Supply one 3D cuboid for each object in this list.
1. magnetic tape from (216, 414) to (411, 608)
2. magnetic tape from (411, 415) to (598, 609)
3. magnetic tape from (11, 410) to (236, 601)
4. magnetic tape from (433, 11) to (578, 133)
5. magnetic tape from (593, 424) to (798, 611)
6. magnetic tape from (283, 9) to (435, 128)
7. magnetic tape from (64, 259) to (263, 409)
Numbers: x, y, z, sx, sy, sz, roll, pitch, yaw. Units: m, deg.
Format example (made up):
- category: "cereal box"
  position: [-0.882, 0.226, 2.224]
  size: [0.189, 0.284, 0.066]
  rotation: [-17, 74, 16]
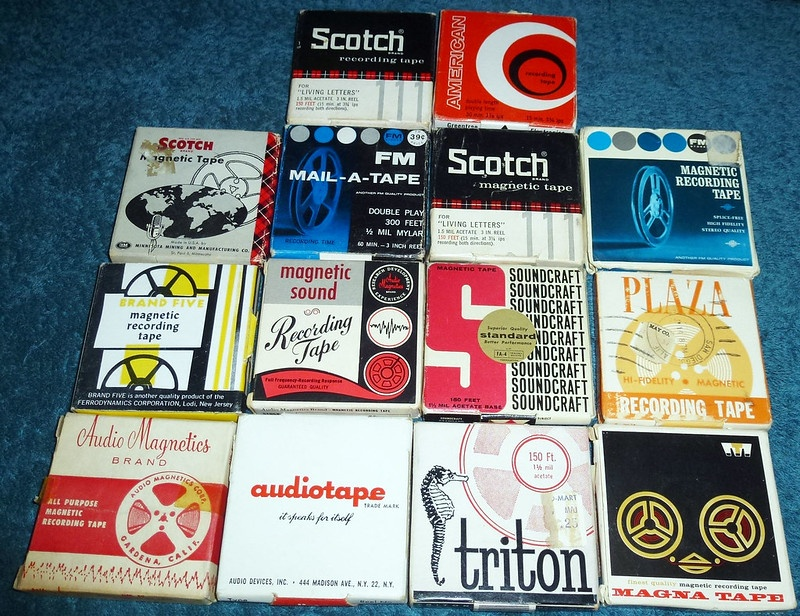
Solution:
- category: "magnetic tape"
  position: [-0.176, 0.411, 1.585]
  size: [0.392, 0.088, 0.343]
  rotation: [-1, 74, 1]
- category: "magnetic tape"
  position: [0.216, 0.426, 1.605]
  size: [0.380, 0.043, 0.360]
  rotation: [2, 69, 0]
- category: "magnetic tape"
  position: [-0.566, 0.430, 1.637]
  size: [0.389, 0.086, 0.385]
  rotation: [7, 58, -18]
- category: "magnetic tape"
  position: [0.264, -0.593, 1.912]
  size: [0.349, 0.035, 0.331]
  rotation: [2, 69, 1]
- category: "magnetic tape"
  position: [0.610, 0.436, 1.606]
  size: [0.382, 0.040, 0.356]
  rotation: [1, 69, 0]
- category: "magnetic tape"
  position: [-0.090, -0.601, 1.911]
  size: [0.353, 0.031, 0.334]
  rotation: [3, 69, 1]
- category: "magnetic tape"
  position: [-0.512, 0.065, 1.697]
  size: [0.368, 0.034, 0.337]
  rotation: [4, 69, 1]
